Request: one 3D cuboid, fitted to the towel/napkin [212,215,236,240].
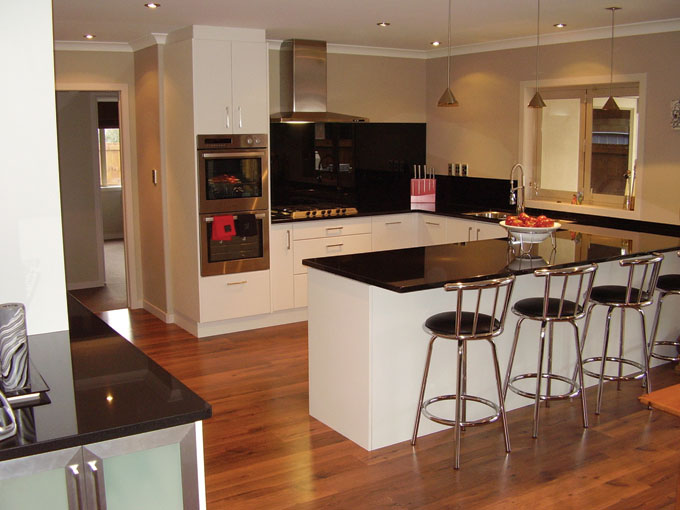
[{"bbox_3d":[-1.196,-0.291,5.737,0.229,0.229,0.088,-6,9,-32],"label":"towel/napkin"}]

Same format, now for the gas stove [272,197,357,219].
[{"bbox_3d":[-0.308,-0.527,6.522,1.084,0.139,0.676,-6,13,-23],"label":"gas stove"}]

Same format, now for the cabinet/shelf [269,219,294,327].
[{"bbox_3d":[-0.637,0.135,6.244,0.301,0.915,0.326,2,2,-18],"label":"cabinet/shelf"}]

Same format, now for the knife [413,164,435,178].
[{"bbox_3d":[1.136,-1.131,7.537,0.194,0.266,0.012,0,-3,-6],"label":"knife"}]

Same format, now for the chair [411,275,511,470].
[{"bbox_3d":[0.876,0.664,3.717,0.591,1.197,0.878,9,16,41],"label":"chair"}]

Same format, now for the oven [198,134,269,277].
[{"bbox_3d":[-1.241,-0.567,6.082,0.808,1.456,0.691,-7,14,-31],"label":"oven"}]

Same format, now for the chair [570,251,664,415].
[{"bbox_3d":[2.126,0.565,4.227,0.547,1.111,0.525,-6,2,0],"label":"chair"}]

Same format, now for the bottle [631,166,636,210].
[{"bbox_3d":[2.916,-0.653,5.574,0.053,0.409,0.148,4,13,26],"label":"bottle"}]

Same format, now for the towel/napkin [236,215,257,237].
[{"bbox_3d":[-0.963,-0.309,5.817,0.216,0.217,0.068,-6,7,-32],"label":"towel/napkin"}]

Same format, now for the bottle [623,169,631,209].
[{"bbox_3d":[2.898,-0.660,5.653,0.049,0.382,0.113,2,12,15],"label":"bottle"}]

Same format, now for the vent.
[{"bbox_3d":[-0.278,-1.928,6.287,0.917,0.863,0.989,-4,13,-25],"label":"vent"}]

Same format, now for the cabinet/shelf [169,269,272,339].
[{"bbox_3d":[-1.327,0.426,6.116,0.732,0.565,0.764,-7,10,-37],"label":"cabinet/shelf"}]

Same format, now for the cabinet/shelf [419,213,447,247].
[{"bbox_3d":[1.119,-0.301,6.778,0.341,0.323,0.235,6,-3,8],"label":"cabinet/shelf"}]

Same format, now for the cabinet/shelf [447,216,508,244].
[{"bbox_3d":[1.479,-0.239,6.123,0.105,0.300,0.874,-8,14,-29],"label":"cabinet/shelf"}]

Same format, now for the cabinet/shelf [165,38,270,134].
[{"bbox_3d":[-1.178,-1.887,6.003,1.065,1.070,0.794,-2,-4,-19],"label":"cabinet/shelf"}]

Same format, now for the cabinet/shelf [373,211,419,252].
[{"bbox_3d":[0.718,-0.233,6.849,0.571,0.414,0.319,-5,-13,21],"label":"cabinet/shelf"}]
